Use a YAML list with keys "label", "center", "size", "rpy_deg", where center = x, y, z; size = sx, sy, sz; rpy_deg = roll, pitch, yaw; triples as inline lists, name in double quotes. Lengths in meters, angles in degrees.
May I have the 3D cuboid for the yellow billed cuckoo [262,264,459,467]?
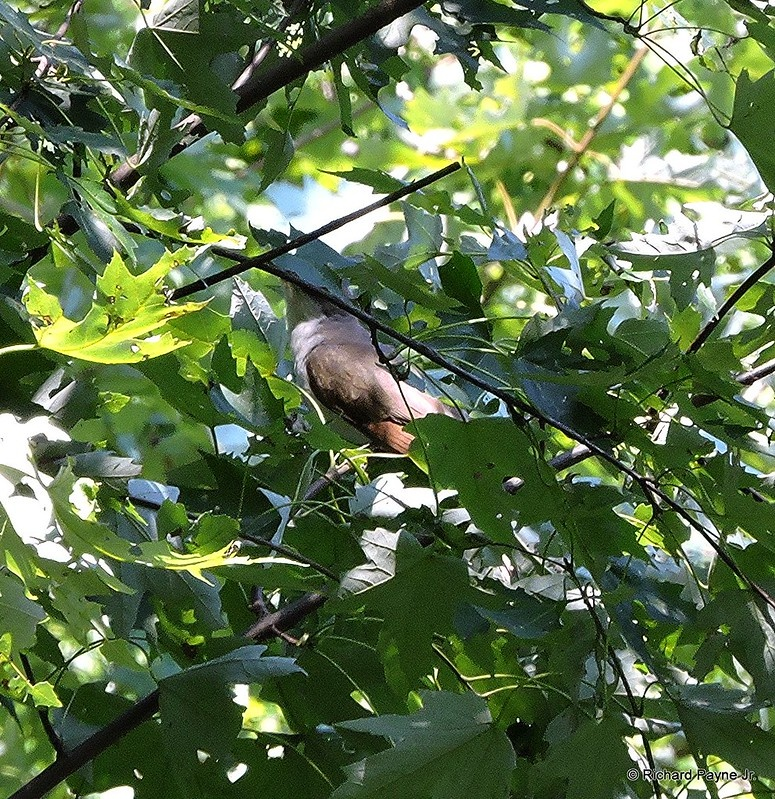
- label: "yellow billed cuckoo"
  center: [-0.034, -0.062, 1.287]
  size: [0.306, 0.100, 0.170]
  rpy_deg: [26, -30, 19]
